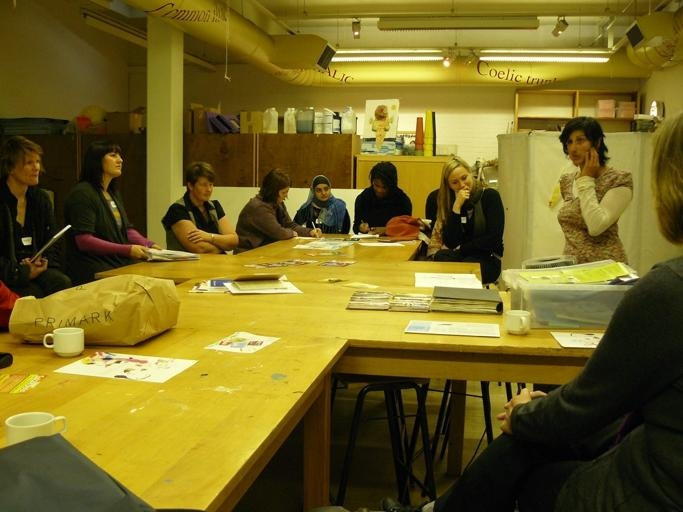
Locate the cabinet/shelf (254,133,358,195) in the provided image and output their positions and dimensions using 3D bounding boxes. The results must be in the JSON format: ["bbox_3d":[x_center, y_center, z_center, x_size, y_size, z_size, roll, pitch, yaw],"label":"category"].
[{"bbox_3d":[-0.503,-1.412,8.187,1.414,0.901,0.832,3,10,0],"label":"cabinet/shelf"}]

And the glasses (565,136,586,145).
[{"bbox_3d":[1.443,-0.717,3.353,0.029,0.068,0.064,-3,-2,-43],"label":"glasses"}]

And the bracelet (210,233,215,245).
[{"bbox_3d":[-1.071,-0.143,4.523,0.029,0.071,0.022,-2,8,-13],"label":"bracelet"}]

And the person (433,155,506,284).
[{"bbox_3d":[1.094,-0.173,4.681,0.720,1.279,0.597,1,1,-45],"label":"person"}]

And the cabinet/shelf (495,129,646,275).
[{"bbox_3d":[2.320,-0.595,6.110,1.265,1.751,1.300,3,17,27],"label":"cabinet/shelf"}]

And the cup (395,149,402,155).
[{"bbox_3d":[0.804,-1.473,7.701,0.098,0.095,0.095,3,4,0],"label":"cup"}]

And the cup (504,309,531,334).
[{"bbox_3d":[0.670,0.244,2.047,0.066,0.062,0.101,0,4,6],"label":"cup"}]

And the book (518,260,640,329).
[{"bbox_3d":[0.904,0.152,2.124,0.299,0.129,0.358,0,5,14],"label":"book"}]

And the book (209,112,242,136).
[{"bbox_3d":[-1.749,-1.969,8.094,0.476,0.345,0.411,-1,8,-12],"label":"book"}]

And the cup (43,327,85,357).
[{"bbox_3d":[-0.875,0.269,1.749,0.119,0.081,0.084,-1,8,-13],"label":"cup"}]

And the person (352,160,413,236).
[{"bbox_3d":[0.457,-0.598,6.030,0.625,0.887,0.549,7,25,7],"label":"person"}]

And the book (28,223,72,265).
[{"bbox_3d":[-2.050,-0.089,3.830,0.430,0.037,0.313,-48,6,-25],"label":"book"}]

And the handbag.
[{"bbox_3d":[-0.843,0.142,1.869,0.364,0.159,0.296,-2,2,7],"label":"handbag"}]

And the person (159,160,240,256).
[{"bbox_3d":[-1.118,-0.394,4.641,0.625,0.795,0.632,5,9,32],"label":"person"}]
